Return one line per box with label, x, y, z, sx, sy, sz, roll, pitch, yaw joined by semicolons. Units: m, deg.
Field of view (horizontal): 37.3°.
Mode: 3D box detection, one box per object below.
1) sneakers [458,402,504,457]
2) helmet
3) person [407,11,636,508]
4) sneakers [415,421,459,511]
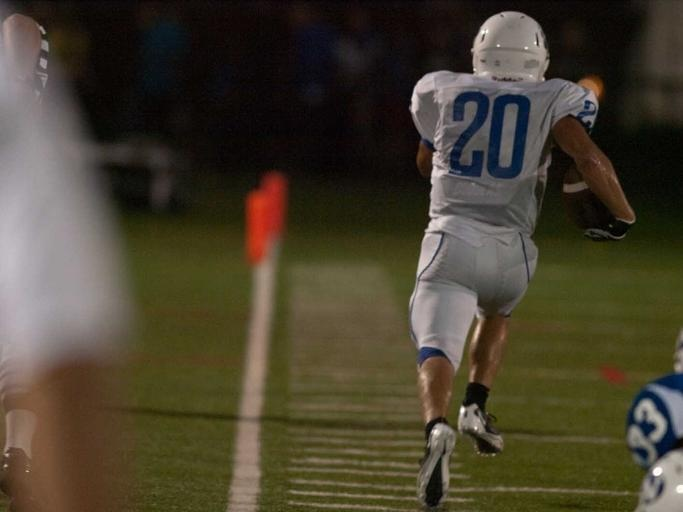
sneakers;0.686;0.836;4.998;0.296;0.156;0.144;42;14;-3
helmet;0.832;-1.032;4.980;0.294;0.339;0.402;5;18;13
person;0.790;-0.053;4.869;0.923;2.250;0.820;1;9;-1
sneakers;0.408;0.914;4.440;0.133;0.398;0.164;6;5;-4
